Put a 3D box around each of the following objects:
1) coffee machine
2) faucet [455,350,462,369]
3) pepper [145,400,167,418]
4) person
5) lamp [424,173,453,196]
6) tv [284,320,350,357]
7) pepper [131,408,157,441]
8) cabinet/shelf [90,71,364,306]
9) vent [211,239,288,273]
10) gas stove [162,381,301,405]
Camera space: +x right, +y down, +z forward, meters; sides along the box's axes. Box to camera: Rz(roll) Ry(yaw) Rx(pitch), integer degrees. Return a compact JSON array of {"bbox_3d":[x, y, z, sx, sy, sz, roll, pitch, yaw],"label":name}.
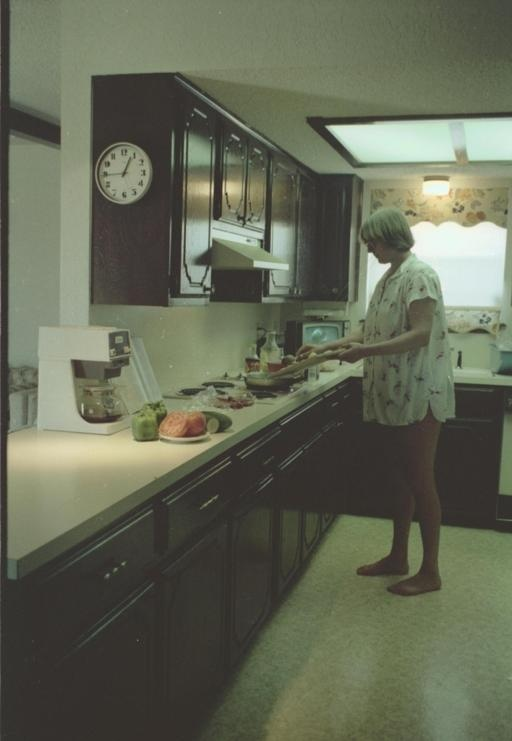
[{"bbox_3d":[-0.408,0.018,1.537,0.190,0.239,0.178,2,6,-2],"label":"coffee machine"},{"bbox_3d":[0.934,-0.052,2.927,0.029,0.078,0.083,3,6,19],"label":"faucet"},{"bbox_3d":[-0.232,0.089,1.486,0.039,0.058,0.037,15,20,34],"label":"pepper"},{"bbox_3d":[0.357,0.078,1.848,0.450,1.012,0.360,1,2,20],"label":"person"},{"bbox_3d":[0.761,-0.775,2.674,0.085,0.062,0.088,5,10,39],"label":"lamp"},{"bbox_3d":[0.271,-0.175,3.180,0.320,0.178,0.184,1,8,-13],"label":"tv"},{"bbox_3d":[-0.243,0.121,1.395,0.059,0.082,0.061,0,-1,14],"label":"pepper"},{"bbox_3d":[0.051,-0.586,2.437,0.301,0.681,2.016,3,6,23],"label":"cabinet/shelf"},{"bbox_3d":[-0.032,-0.390,2.195,0.219,0.132,0.306,4,6,16],"label":"vent"},{"bbox_3d":[-0.076,0.051,2.194,0.300,0.079,0.323,3,5,24],"label":"gas stove"}]
